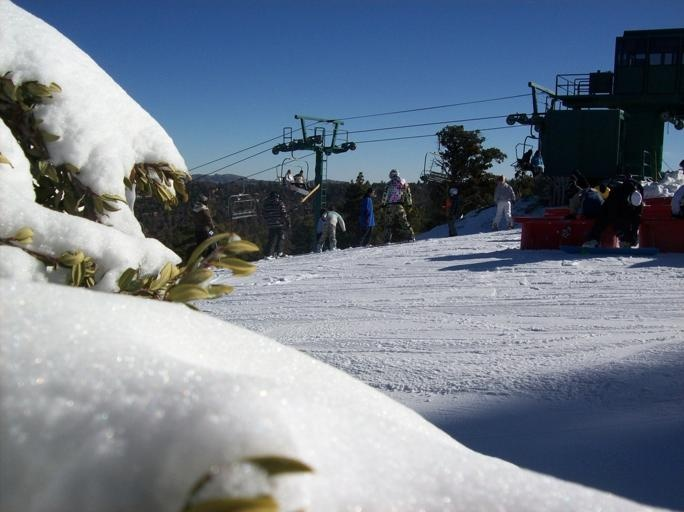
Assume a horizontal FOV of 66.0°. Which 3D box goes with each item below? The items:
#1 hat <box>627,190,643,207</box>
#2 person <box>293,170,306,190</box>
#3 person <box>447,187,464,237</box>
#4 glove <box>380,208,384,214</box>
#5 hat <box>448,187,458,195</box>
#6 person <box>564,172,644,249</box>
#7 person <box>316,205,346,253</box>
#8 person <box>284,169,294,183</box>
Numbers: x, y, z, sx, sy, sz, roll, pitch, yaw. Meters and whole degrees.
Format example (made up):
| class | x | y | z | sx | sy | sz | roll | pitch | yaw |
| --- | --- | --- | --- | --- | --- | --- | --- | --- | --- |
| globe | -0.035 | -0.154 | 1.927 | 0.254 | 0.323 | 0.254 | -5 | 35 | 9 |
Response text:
| class | x | y | z | sx | sy | sz | roll | pitch | yaw |
| --- | --- | --- | --- | --- | --- | --- | --- | --- | --- |
| hat | 4.781 | -0.927 | 8.636 | 0.223 | 0.244 | 0.053 | -13 | 13 | -39 |
| person | -2.381 | -4.268 | 29.841 | 0.723 | 1.085 | 2.204 | -3 | 6 | -8 |
| person | 3.561 | -1.397 | 16.765 | 0.436 | 1.530 | 1.794 | -1 | 6 | 13 |
| glove | 1.185 | -1.357 | 15.572 | 0.103 | 0.115 | 0.027 | -4 | -1 | -29 |
| hat | 3.500 | -2.001 | 16.548 | 0.224 | 0.234 | 0.500 | -1 | 6 | 10 |
| person | 4.852 | -0.709 | 9.166 | 0.888 | 1.224 | 1.129 | -3 | 6 | -6 |
| person | -0.386 | -0.790 | 16.116 | 0.746 | 1.468 | 0.405 | 1 | -28 | 2 |
| person | -3.013 | -4.454 | 29.845 | 0.539 | 0.728 | 1.610 | -3 | 6 | -6 |
